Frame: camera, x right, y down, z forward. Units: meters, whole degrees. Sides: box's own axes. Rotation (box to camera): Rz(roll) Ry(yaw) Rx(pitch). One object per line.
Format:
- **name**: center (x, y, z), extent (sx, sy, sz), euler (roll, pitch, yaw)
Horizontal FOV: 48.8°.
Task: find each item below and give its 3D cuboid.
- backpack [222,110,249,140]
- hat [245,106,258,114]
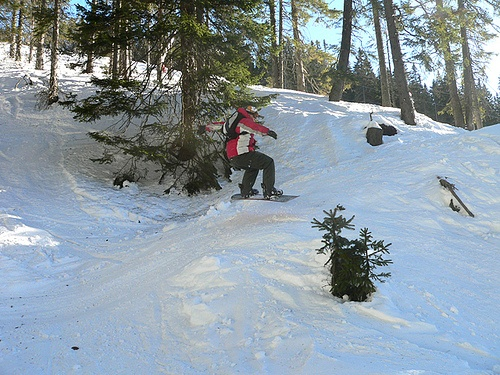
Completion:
- **backpack**: center (-0.452, -1.860, 16.628), extent (0.228, 0.888, 0.701), euler (1, 4, -45)
- **hat**: center (0.052, -2.363, 16.705), extent (0.317, 0.220, 0.465), euler (3, 3, 0)
